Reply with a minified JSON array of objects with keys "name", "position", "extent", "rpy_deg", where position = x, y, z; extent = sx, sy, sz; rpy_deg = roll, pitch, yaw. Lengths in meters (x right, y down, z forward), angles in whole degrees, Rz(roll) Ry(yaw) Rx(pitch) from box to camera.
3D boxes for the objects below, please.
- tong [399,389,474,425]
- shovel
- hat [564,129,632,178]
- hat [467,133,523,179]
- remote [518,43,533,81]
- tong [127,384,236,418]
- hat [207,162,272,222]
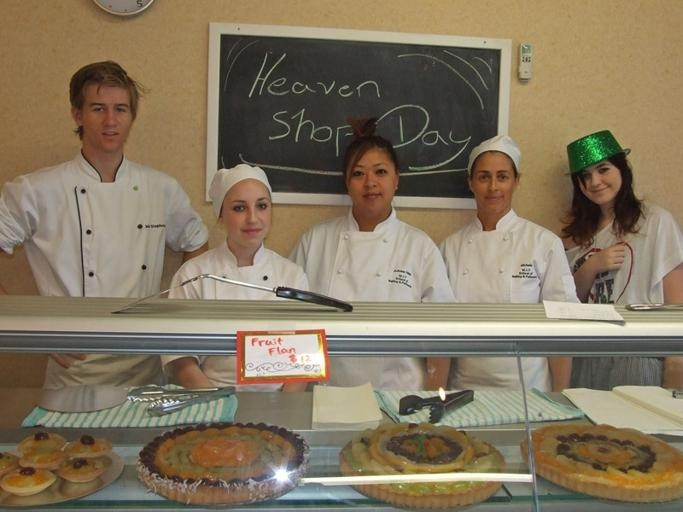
[{"name":"tong","position":[0.249,0.379,1.828],"extent":[0.161,0.047,0.091],"rpy_deg":[-10,13,-15]},{"name":"shovel","position":[-0.372,0.122,2.299],"extent":[0.732,0.121,0.039],"rpy_deg":[5,21,1]},{"name":"hat","position":[1.142,-0.474,3.169],"extent":[0.350,0.135,0.321],"rpy_deg":[-16,-1,6]},{"name":"hat","position":[0.668,-0.458,3.116],"extent":[0.206,0.163,0.181],"rpy_deg":[4,31,-6]},{"name":"remote","position":[0.867,-0.908,3.264],"extent":[0.085,0.171,0.057],"rpy_deg":[-2,10,-8]},{"name":"tong","position":[-0.411,0.375,1.873],"extent":[0.312,0.055,0.090],"rpy_deg":[-4,18,-6]},{"name":"hat","position":[-0.409,-0.252,2.799],"extent":[0.254,0.211,0.190],"rpy_deg":[-11,-1,35]}]
